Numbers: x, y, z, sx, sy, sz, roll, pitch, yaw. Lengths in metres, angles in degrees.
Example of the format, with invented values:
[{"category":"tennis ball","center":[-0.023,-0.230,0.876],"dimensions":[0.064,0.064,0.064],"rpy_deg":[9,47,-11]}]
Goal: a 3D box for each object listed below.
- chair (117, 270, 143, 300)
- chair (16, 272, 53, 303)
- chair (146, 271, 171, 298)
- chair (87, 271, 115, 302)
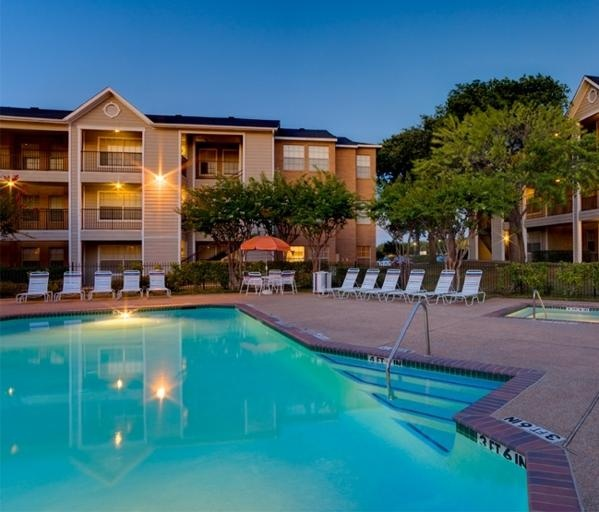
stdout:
[{"category":"chair","center":[-6.314,1.036,21.805],"dimensions":[0.715,0.843,1.176],"rpy_deg":[0,0,-8]},{"category":"chair","center":[-9.425,1.067,20.675],"dimensions":[0.761,0.985,1.333],"rpy_deg":[-1,-1,-14]},{"category":"chair","center":[-5.371,1.051,22.409],"dimensions":[0.726,0.873,1.237],"rpy_deg":[1,-2,-15]},{"category":"chair","center":[-7.312,1.070,21.424],"dimensions":[0.778,0.915,1.284],"rpy_deg":[0,-1,-15]}]
